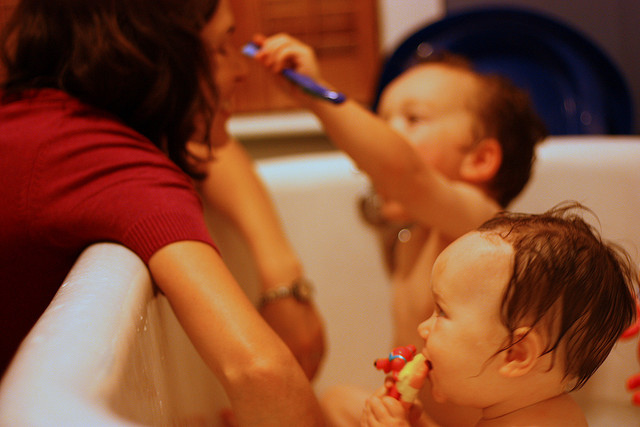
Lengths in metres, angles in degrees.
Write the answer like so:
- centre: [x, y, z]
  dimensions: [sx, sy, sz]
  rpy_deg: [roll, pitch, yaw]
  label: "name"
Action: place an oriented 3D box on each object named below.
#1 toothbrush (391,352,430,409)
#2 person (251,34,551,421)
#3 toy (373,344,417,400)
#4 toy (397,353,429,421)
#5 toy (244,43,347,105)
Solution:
- centre: [0.152, 0.293, 1.044]
  dimensions: [0.029, 0.096, 0.048]
  rpy_deg: [27, 14, -33]
  label: "toothbrush"
- centre: [0.182, 0.031, 1.642]
  dimensions: [0.679, 1.051, 0.511]
  rpy_deg: [0, -3, -5]
  label: "person"
- centre: [0.128, 0.280, 1.038]
  dimensions: [0.070, 0.115, 0.052]
  rpy_deg: [-1, -2, 20]
  label: "toy"
- centre: [0.151, 0.296, 1.029]
  dimensions: [0.026, 0.105, 0.051]
  rpy_deg: [19, 10, -26]
  label: "toy"
- centre: [-0.049, -0.270, 1.150]
  dimensions: [0.165, 0.038, 0.039]
  rpy_deg: [33, 48, -6]
  label: "toy"
